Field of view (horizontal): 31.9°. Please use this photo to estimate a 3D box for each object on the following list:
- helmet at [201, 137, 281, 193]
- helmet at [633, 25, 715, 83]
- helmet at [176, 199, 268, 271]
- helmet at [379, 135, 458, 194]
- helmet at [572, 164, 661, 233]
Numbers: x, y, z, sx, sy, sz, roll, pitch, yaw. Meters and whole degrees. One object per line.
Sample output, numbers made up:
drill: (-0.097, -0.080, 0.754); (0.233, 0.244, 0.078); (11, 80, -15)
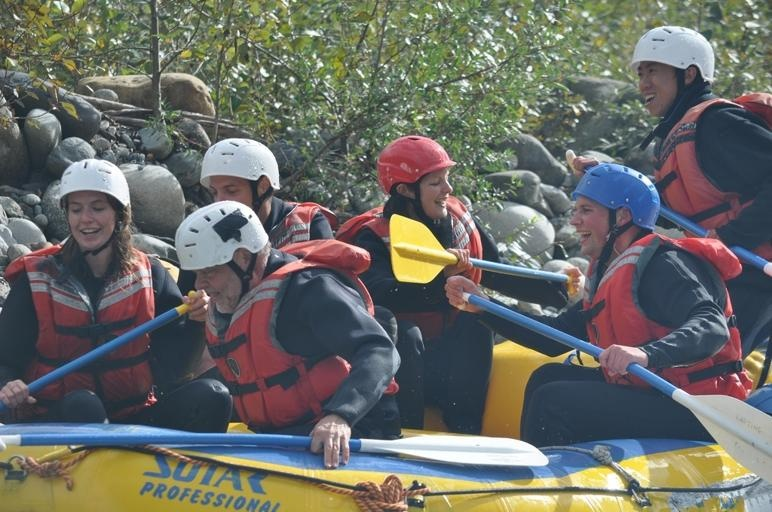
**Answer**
helmet: (-1.068, -0.655, 9.883); (0.485, 0.314, 0.608); (-2, -16, 26)
helmet: (2.148, -1.545, 10.132); (0.528, 0.307, 0.420); (-7, 13, -19)
helmet: (-1.068, -0.159, 8.698); (0.642, 0.382, 0.491); (-12, 6, 3)
helmet: (0.218, -0.677, 9.687); (0.617, 0.423, 0.444); (3, 17, 26)
helmet: (1.575, -0.422, 9.324); (0.546, 0.330, 0.419); (19, -4, -7)
